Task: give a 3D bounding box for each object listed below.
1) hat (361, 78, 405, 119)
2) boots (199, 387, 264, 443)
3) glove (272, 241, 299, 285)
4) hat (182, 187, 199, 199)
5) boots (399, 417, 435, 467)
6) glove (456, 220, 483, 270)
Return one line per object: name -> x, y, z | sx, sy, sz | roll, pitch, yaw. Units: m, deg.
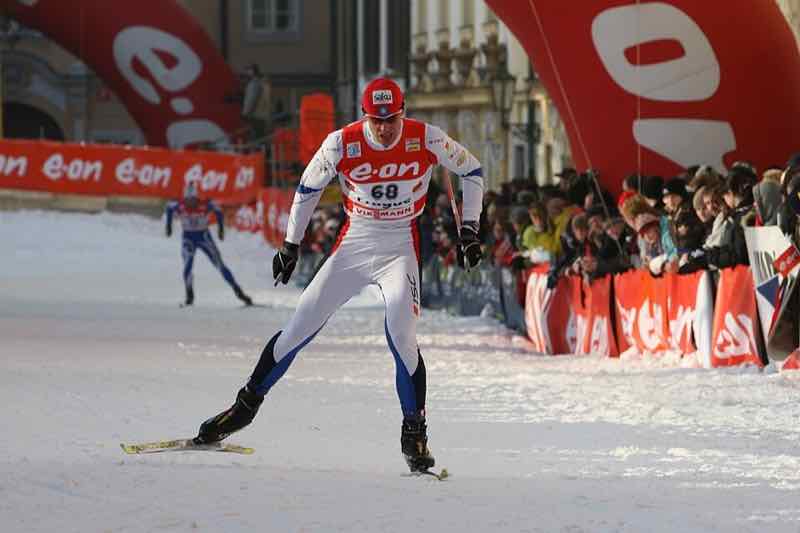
hat -> -0.160, -1.454, 12.791 | 0.283, 0.220, 0.392 | -2, 33, 0
boots -> -1.510, 1.248, 12.902 | 0.233, 0.459, 0.688 | 29, 17, 26
glove -> -1.017, -0.031, 12.920 | 0.233, 0.364, 0.143 | 30, -9, -16
hat -> -2.165, -0.756, 15.365 | 0.104, 0.135, 0.126 | 1, 5, -2
boots -> 0.148, 1.506, 12.647 | 0.282, 0.404, 0.319 | 1, 10, 1
glove -> 0.633, -0.184, 12.972 | 0.135, 0.363, 0.260 | 4, -14, -23
